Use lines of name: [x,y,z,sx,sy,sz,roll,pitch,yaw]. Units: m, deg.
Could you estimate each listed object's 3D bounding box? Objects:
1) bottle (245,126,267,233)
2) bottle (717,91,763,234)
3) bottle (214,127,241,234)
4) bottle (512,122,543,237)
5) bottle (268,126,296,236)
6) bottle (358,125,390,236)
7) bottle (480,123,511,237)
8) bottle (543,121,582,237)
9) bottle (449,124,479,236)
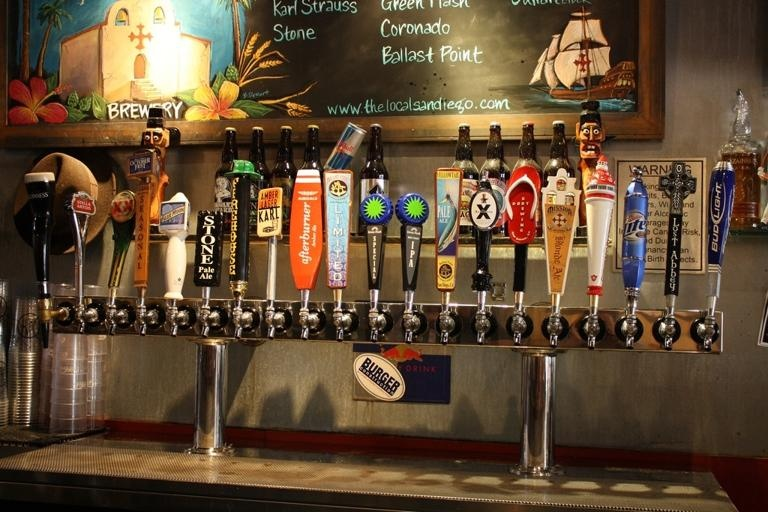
bottle: [-0.476,-0.291,3.542,0.086,0.372,0.319,3,-1,-8]
bottle: [1.293,-0.353,3.393,0.113,0.343,0.131,4,-1,-23]
bottle: [-0.602,-0.292,3.563,0.070,0.367,0.231,3,-1,-9]
bottle: [0.527,-0.285,3.411,0.107,0.323,0.289,3,-1,8]
bottle: [-0.380,-0.290,3.521,0.097,0.377,0.286,3,-1,-6]
bottle: [-0.034,-0.289,3.469,0.115,0.349,0.325,3,-1,-2]
bottle: [0.391,-0.288,3.336,0.110,0.328,0.470,3,-1,6]
bottle: [0.648,-0.288,3.392,0.153,0.318,0.276,3,-1,9]
bottle: [0.295,-0.284,3.411,0.101,0.333,0.365,3,-1,4]
